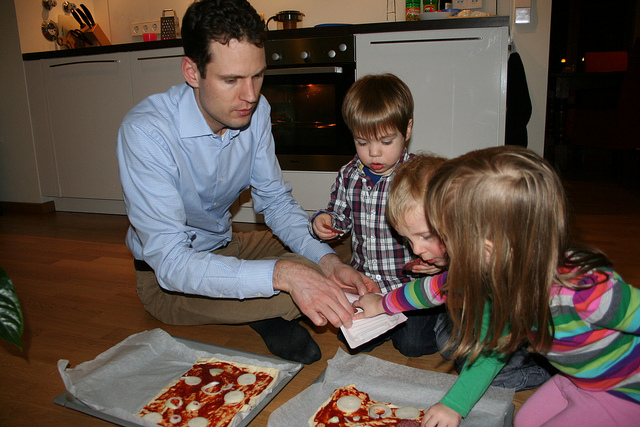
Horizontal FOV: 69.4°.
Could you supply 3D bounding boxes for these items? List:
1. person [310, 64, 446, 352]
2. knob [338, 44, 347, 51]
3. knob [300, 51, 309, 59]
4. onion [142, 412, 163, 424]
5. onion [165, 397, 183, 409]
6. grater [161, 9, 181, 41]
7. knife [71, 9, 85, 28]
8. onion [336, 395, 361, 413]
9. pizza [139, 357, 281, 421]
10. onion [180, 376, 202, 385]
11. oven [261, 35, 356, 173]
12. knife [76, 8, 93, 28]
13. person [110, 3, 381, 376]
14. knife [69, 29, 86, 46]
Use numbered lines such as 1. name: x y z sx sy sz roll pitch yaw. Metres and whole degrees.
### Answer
1. person: 0.264 -0.028 2.000 0.549 1.031 0.613 -13 15 -28
2. knob: 0.144 -1.097 3.057 0.050 0.040 0.015 7 23 26
3. knob: -0.106 -1.067 3.114 0.043 0.046 0.050 18 11 19
4. onion: -0.585 0.712 1.615 0.072 0.016 0.040 1 21 13
5. onion: -0.527 0.684 1.663 0.035 0.012 0.036 -10 31 -17
6. grater: -1.254 -1.570 3.836 0.163 0.221 0.187 -9 21 -14
7. knife: -2.087 -1.679 3.977 0.076 0.174 0.051 -42 26 -30
8. onion: 0.101 0.680 1.643 0.087 0.021 0.063 -3 21 2
9. pizza: -0.409 0.664 1.696 0.367 0.048 0.294 4 22 20
10. onion: -0.490 0.631 1.754 0.043 0.012 0.035 8 11 9
11. oven: -0.062 -0.697 3.418 0.644 0.914 0.601 2 -5 13
12. knife: -2.051 -1.689 4.005 0.057 0.230 0.049 -35 11 32
13. person: -0.355 -0.091 1.883 0.780 1.428 1.006 -17 24 -31
14. knife: -2.077 -1.498 3.952 0.129 0.126 0.048 3 22 18
